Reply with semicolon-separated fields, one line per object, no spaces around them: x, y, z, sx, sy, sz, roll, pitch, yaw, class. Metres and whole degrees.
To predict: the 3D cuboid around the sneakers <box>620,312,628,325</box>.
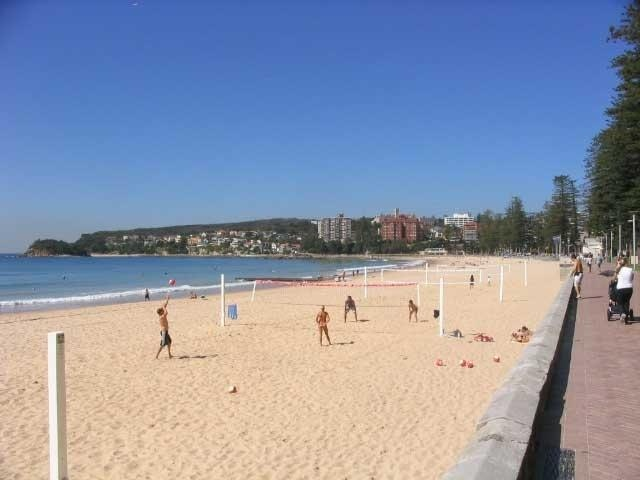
7.443;1.900;14.419;0.123;0.276;0.571;0;0;37;sneakers
